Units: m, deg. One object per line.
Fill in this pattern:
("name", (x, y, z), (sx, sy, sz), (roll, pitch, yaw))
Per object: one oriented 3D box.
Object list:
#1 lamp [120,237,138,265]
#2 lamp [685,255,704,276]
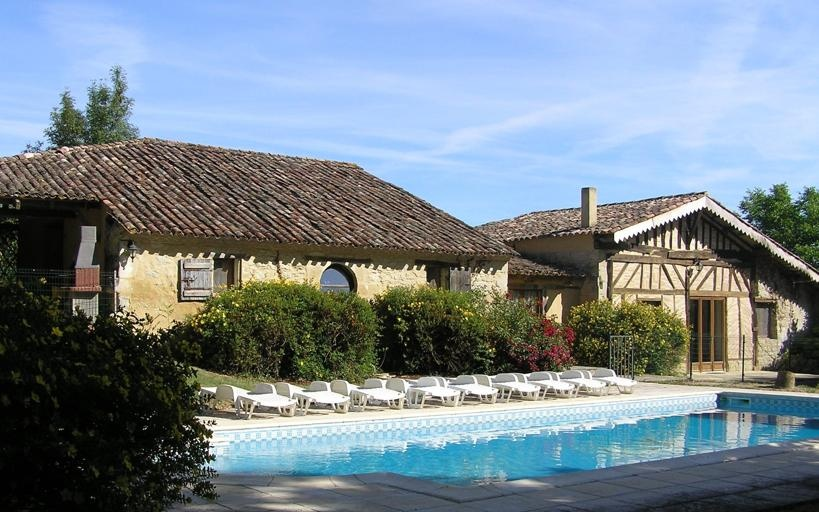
("lamp", (-8.385, -0.107, 25.880), (0.570, 0.811, 0.273), (0, 4, -19))
("lamp", (12.057, 0.451, 36.497), (1.042, 0.874, 0.445), (-2, 5, -39))
